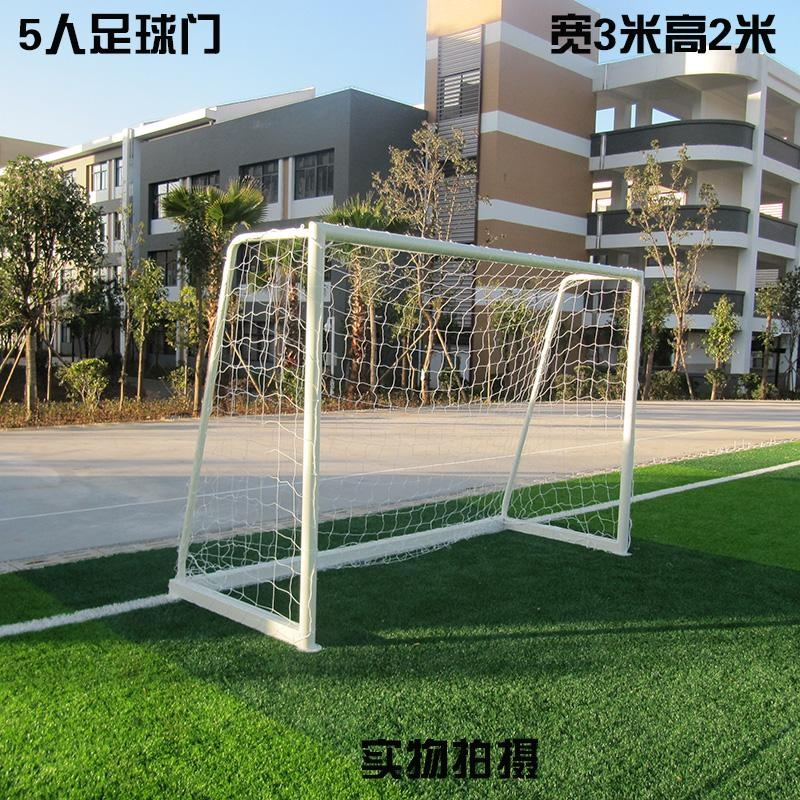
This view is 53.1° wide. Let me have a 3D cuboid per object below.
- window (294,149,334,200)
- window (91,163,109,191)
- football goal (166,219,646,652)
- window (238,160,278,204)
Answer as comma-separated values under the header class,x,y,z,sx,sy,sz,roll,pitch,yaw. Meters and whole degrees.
class,x,y,z,sx,sy,sz,roll,pitch,yaw
window,-2.634,-7.374,23.908,1.724,1.416,0.170,5,6,43
window,-12.273,-10.070,32.730,1.184,1.384,0.076,8,5,44
football goal,-0.020,-0.049,9.858,5.476,4.341,2.636,-4,7,-44
window,-4.505,-7.563,25.240,0.608,1.427,1.727,-3,6,-43
